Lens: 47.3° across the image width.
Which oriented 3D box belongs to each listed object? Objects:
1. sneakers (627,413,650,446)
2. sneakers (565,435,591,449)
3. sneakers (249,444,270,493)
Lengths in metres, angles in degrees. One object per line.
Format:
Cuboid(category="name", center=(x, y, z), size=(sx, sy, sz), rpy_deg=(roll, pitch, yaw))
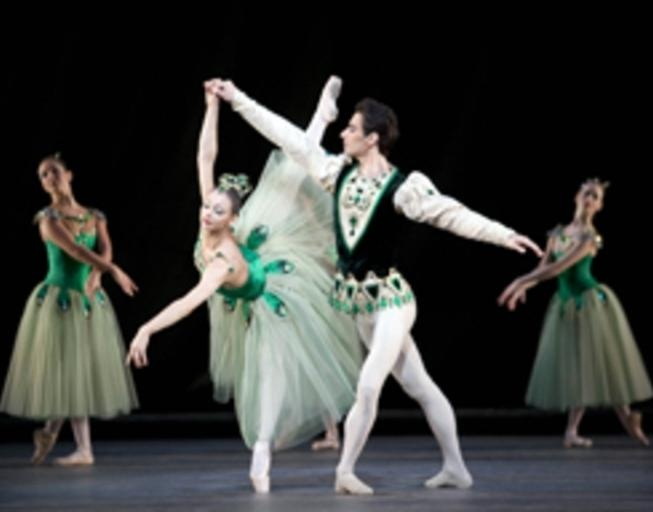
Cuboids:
Cuboid(category="sneakers", center=(1.875, 1.050, 4.478), size=(0.093, 0.230, 0.068), rpy_deg=(-19, -4, 6))
Cuboid(category="sneakers", center=(1.445, 1.060, 4.281), size=(0.161, 0.059, 0.236), rpy_deg=(-6, -8, 19))
Cuboid(category="sneakers", center=(-0.282, 0.882, 3.119), size=(0.065, 0.206, 0.084), rpy_deg=(-1, -14, 10))
